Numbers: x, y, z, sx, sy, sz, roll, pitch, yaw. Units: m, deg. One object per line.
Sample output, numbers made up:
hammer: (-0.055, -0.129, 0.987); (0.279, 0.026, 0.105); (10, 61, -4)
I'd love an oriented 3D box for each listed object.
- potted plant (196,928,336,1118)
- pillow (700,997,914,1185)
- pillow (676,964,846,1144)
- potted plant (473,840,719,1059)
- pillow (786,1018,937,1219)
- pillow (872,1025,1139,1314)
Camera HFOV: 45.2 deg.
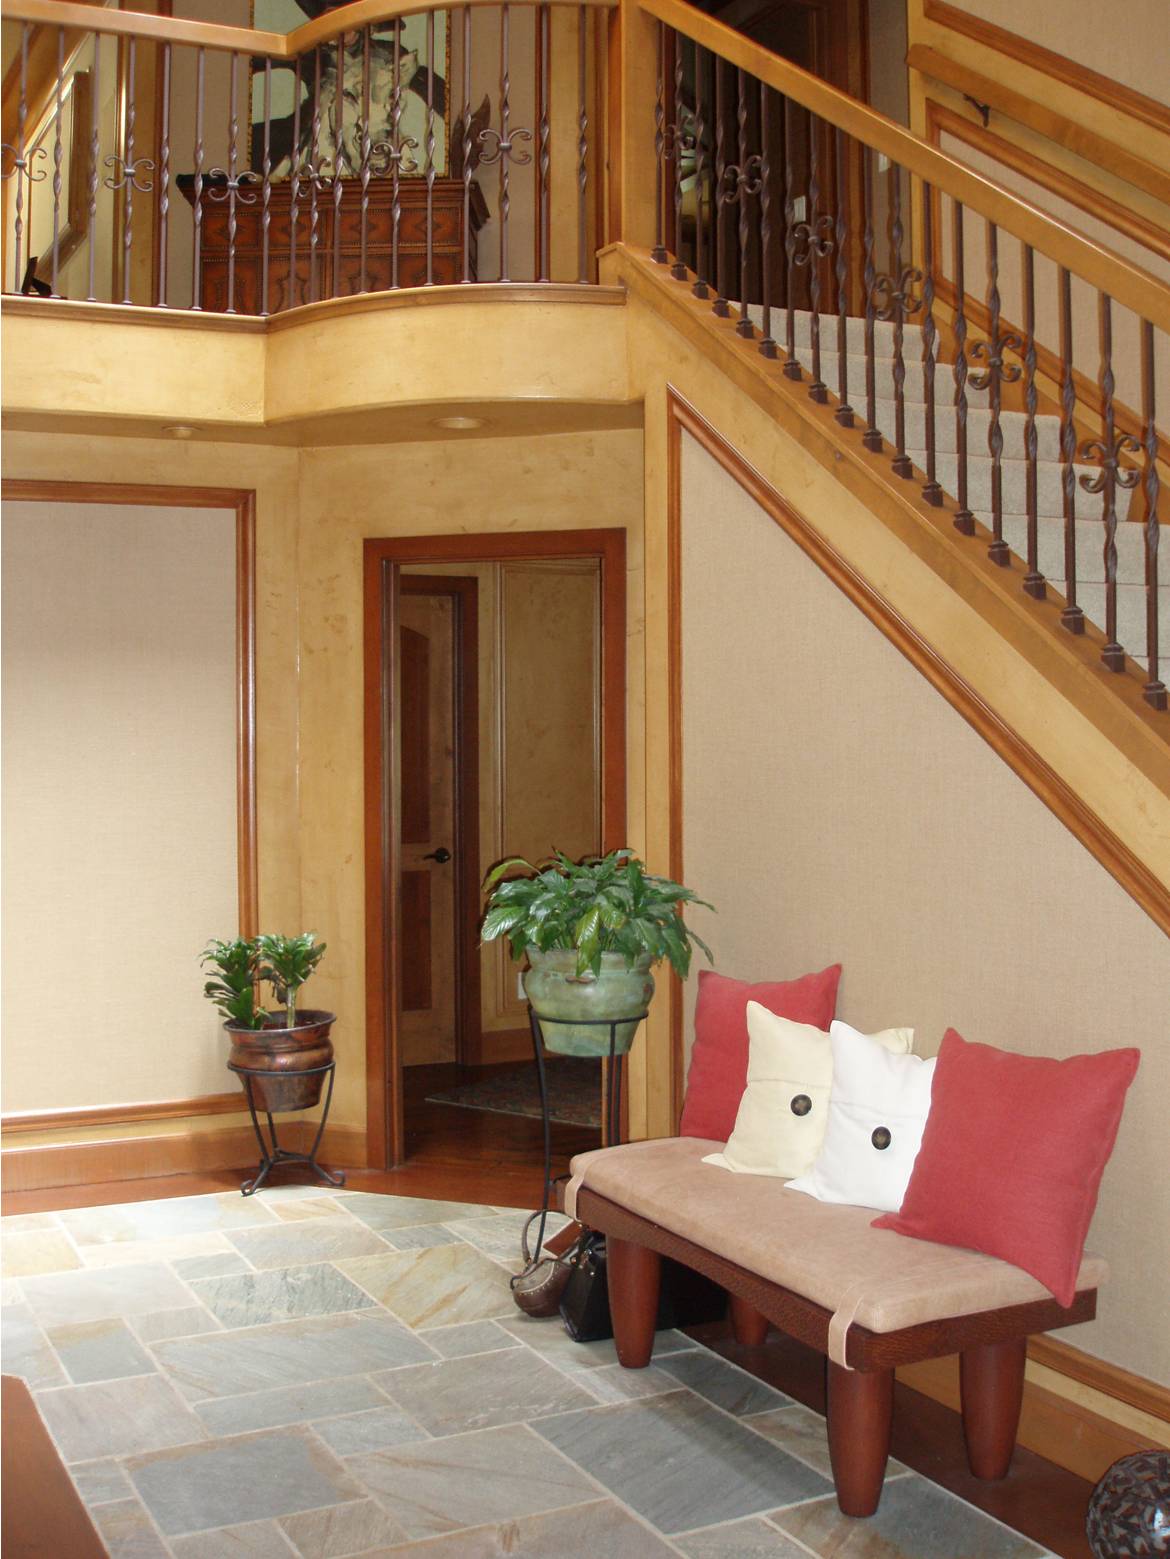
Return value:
potted plant: (-1.121, 0.893, 5.024); (0.431, 0.705, 0.629); (-1, 7, -12)
pillow: (0.510, 0.734, 3.152); (0.435, 0.399, 0.173); (0, -9, 30)
pillow: (0.422, 0.651, 3.309); (0.148, 0.456, 0.430); (13, -16, -36)
potted plant: (0.010, 0.494, 3.717); (0.521, 0.533, 0.426); (1, 6, 7)
pillow: (0.555, 0.703, 2.844); (0.107, 0.284, 0.283); (17, 4, -27)
pillow: (0.751, 0.674, 2.524); (0.221, 0.380, 0.387); (2, 4, -45)
